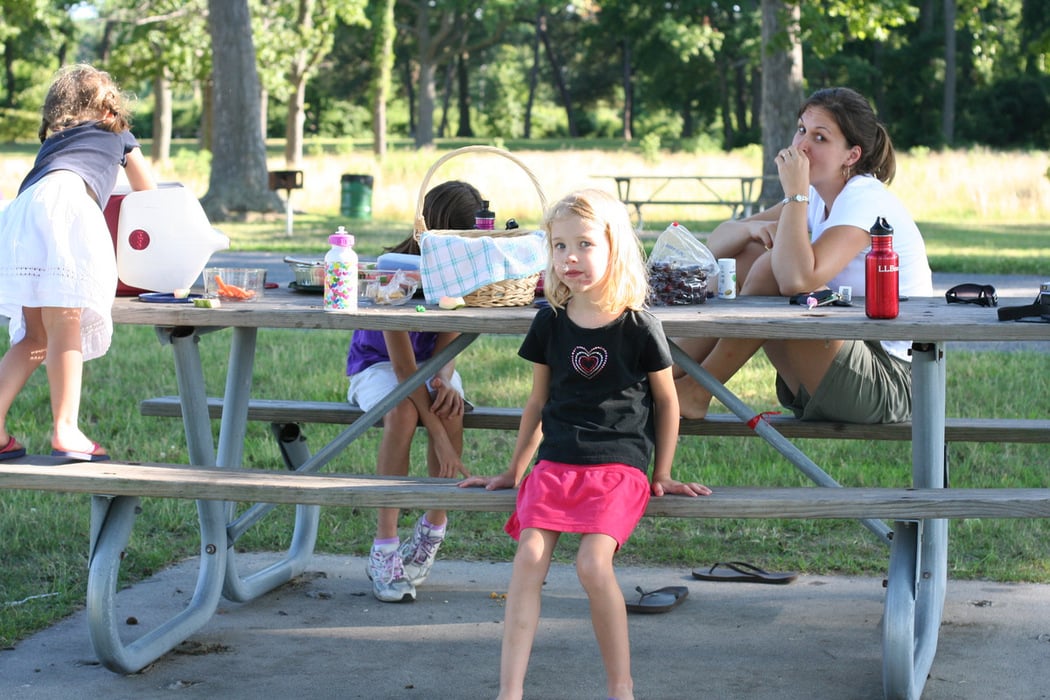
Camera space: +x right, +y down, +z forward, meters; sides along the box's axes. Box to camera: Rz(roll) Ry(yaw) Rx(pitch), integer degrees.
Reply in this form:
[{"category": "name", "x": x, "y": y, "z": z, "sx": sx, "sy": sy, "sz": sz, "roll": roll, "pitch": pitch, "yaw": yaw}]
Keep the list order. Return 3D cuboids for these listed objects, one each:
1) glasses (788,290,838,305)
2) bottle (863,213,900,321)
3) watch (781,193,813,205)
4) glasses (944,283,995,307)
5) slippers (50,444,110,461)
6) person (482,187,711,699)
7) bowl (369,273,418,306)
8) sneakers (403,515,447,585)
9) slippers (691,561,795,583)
[{"category": "glasses", "x": 1.668, "y": -0.300, "z": 9.502, "sx": 0.292, "sy": 0.118, "sz": 0.101, "roll": -2, "pitch": -8, "yaw": -1}, {"category": "bottle", "x": 1.981, "y": -0.454, "z": 9.197, "sx": 0.181, "sy": 0.539, "sz": 0.259, "roll": 1, "pitch": 7, "yaw": 11}, {"category": "watch", "x": 1.591, "y": -0.879, "z": 9.647, "sx": 0.107, "sy": 0.041, "sz": 0.104, "roll": 6, "pitch": -8, "yaw": -45}, {"category": "glasses", "x": 2.567, "y": -0.315, "z": 9.565, "sx": 0.228, "sy": 0.120, "sz": 0.140, "roll": 0, "pitch": 2, "yaw": 16}, {"category": "slippers", "x": -2.494, "y": 0.581, "z": 9.342, "sx": 0.224, "sy": 0.069, "sz": 0.123, "roll": 1, "pitch": 2, "yaw": -19}, {"category": "person", "x": 0.346, "y": 0.521, "z": 8.985, "sx": 1.156, "sy": 2.739, "sz": 0.851, "roll": -3, "pitch": 8, "yaw": -22}, {"category": "bowl", "x": -0.749, "y": -0.338, "z": 9.617, "sx": 0.222, "sy": 0.152, "sz": 0.196, "roll": -13, "pitch": 1, "yaw": -7}, {"category": "sneakers", "x": -0.605, "y": 1.191, "z": 9.994, "sx": 0.173, "sy": 0.483, "sz": 0.204, "roll": 22, "pitch": -22, "yaw": -19}, {"category": "slippers", "x": 1.310, "y": 1.341, "z": 10.016, "sx": 0.385, "sy": 0.099, "sz": 0.226, "roll": 2, "pitch": -3, "yaw": 9}]
